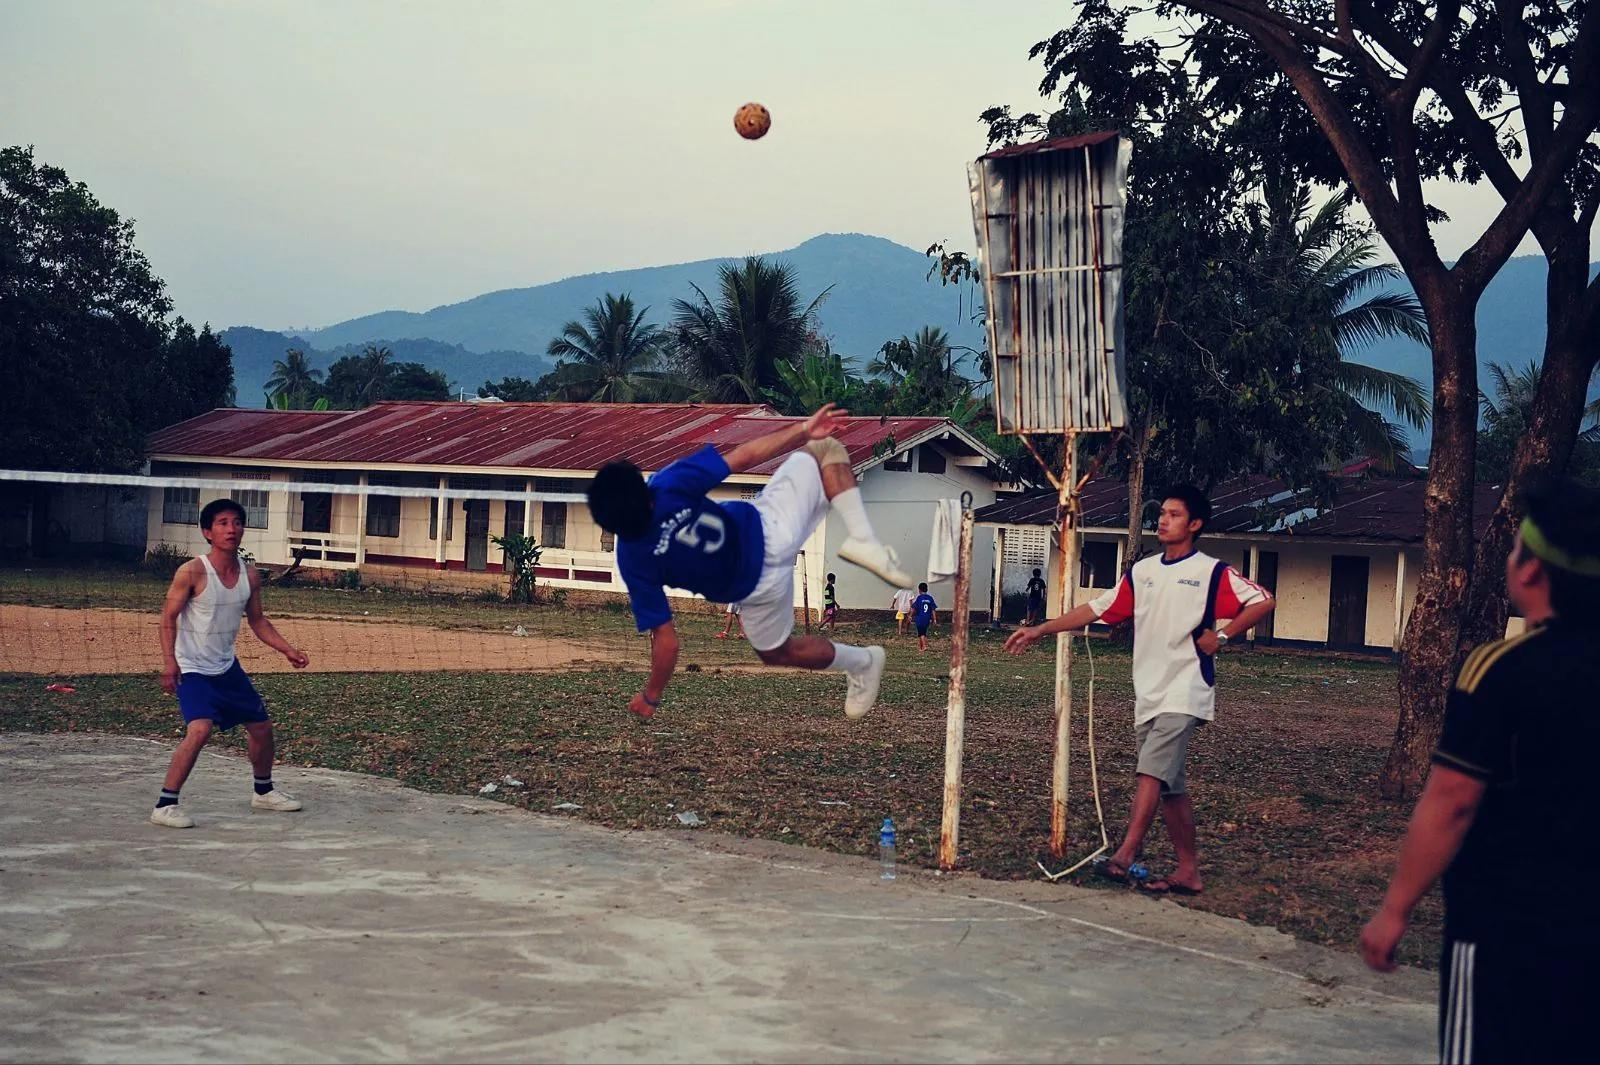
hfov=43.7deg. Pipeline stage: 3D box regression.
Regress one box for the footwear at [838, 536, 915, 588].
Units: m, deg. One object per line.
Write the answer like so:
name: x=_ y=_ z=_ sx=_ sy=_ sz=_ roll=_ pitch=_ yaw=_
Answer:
footwear: x=0.579 y=0.213 z=15.545 sx=0.644 sy=0.268 sz=0.285 roll=27 pitch=-1 yaw=-8

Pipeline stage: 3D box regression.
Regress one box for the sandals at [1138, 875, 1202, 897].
sandals: x=2.998 y=2.848 z=16.197 sx=0.491 sy=0.134 sz=0.188 roll=7 pitch=-1 yaw=5

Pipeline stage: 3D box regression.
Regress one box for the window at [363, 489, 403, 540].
window: x=-8.714 y=-0.358 z=41.784 sx=0.977 sy=1.044 sz=0.092 roll=0 pitch=-3 yaw=11

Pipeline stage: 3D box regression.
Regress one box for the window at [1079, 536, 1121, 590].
window: x=6.070 y=0.576 z=40.253 sx=1.125 sy=1.476 sz=0.155 roll=-1 pitch=-9 yaw=34

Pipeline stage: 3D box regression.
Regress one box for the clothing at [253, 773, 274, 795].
clothing: x=-4.666 y=2.174 z=17.401 sx=0.175 sy=0.184 sz=0.177 roll=9 pitch=12 yaw=43

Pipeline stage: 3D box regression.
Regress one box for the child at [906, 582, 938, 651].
child: x=1.971 y=1.324 z=31.816 sx=0.463 sy=1.038 sz=0.515 roll=4 pitch=8 yaw=-27

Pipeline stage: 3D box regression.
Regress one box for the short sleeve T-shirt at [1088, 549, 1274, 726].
short sleeve T-shirt: x=3.970 y=1.183 z=20.766 sx=2.009 sy=1.735 sz=0.616 roll=2 pitch=9 yaw=22

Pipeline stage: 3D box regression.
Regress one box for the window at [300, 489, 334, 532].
window: x=-10.498 y=-0.491 z=43.459 sx=0.810 sy=0.781 sz=1.436 roll=3 pitch=0 yaw=6

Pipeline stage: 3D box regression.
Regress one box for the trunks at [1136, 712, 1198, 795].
trunks: x=2.937 y=1.766 z=16.008 sx=0.480 sy=0.686 sz=0.286 roll=3 pitch=6 yaw=9

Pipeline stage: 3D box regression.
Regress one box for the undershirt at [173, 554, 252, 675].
undershirt: x=-4.998 y=0.706 z=16.982 sx=0.621 sy=0.982 sz=0.271 roll=0 pitch=6 yaw=-19

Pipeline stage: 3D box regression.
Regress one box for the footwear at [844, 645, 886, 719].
footwear: x=0.512 y=1.211 z=16.255 sx=0.258 sy=0.697 sz=0.284 roll=16 pitch=8 yaw=34

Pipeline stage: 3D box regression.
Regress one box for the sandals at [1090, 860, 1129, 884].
sandals: x=2.532 y=2.745 z=16.192 sx=0.240 sy=0.103 sz=0.182 roll=3 pitch=-6 yaw=4

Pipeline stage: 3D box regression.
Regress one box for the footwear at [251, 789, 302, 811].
footwear: x=-4.546 y=2.342 z=17.369 sx=0.480 sy=0.181 sz=0.193 roll=2 pitch=2 yaw=0

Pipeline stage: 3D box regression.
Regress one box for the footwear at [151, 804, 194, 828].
footwear: x=-5.295 y=2.367 z=16.782 sx=0.355 sy=0.153 sz=0.178 roll=4 pitch=15 yaw=16

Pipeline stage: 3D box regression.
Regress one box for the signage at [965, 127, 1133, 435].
signage: x=2.100 y=-2.066 z=16.737 sx=1.322 sy=2.509 sz=0.486 roll=2 pitch=6 yaw=7
